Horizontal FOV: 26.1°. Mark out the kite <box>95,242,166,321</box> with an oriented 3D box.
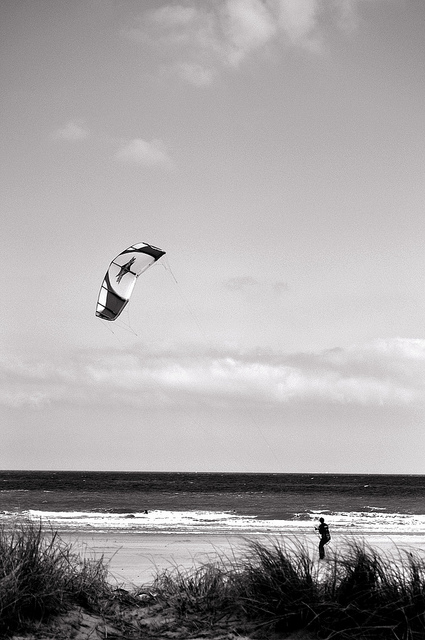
[{"bbox_3d":[-1.366,-0.866,16.429,0.845,0.628,2.053,17,-41,-18],"label":"kite"}]
